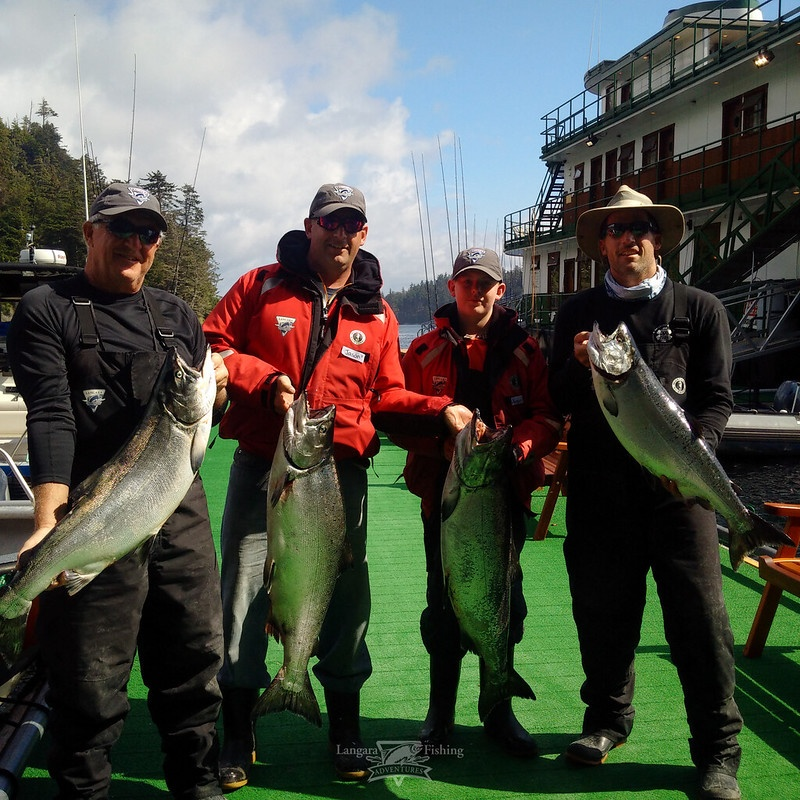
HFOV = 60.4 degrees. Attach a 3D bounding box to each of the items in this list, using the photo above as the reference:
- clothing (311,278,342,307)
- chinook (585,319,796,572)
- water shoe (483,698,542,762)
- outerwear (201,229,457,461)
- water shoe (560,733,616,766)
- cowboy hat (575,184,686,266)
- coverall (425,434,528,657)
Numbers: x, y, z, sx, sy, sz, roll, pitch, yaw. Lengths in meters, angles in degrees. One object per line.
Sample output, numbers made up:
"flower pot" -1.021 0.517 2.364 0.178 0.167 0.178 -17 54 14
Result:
"clothing" -0.308 -0.441 2.896 0.105 0.144 0.075 4 -16 -13
"chinook" 1.028 0.181 2.538 0.745 0.903 0.156 1 4 -3
"water shoe" 0.461 1.420 2.991 0.125 0.232 0.333 2 -7 -25
"outerwear" -0.263 -0.147 2.849 1.158 0.987 0.715 9 -1 -3
"water shoe" 0.788 1.432 2.868 0.209 0.090 0.089 2 -3 -32
"cowboy hat" 1.042 -0.809 3.191 0.548 0.201 0.614 4 37 21
"coverall" 0.305 0.840 3.092 0.443 1.204 0.251 -2 -3 15
